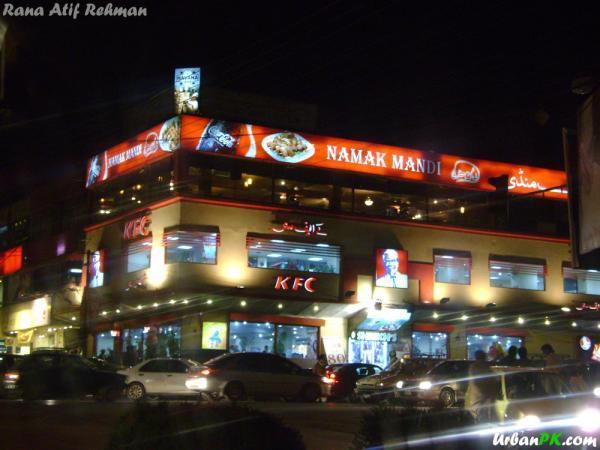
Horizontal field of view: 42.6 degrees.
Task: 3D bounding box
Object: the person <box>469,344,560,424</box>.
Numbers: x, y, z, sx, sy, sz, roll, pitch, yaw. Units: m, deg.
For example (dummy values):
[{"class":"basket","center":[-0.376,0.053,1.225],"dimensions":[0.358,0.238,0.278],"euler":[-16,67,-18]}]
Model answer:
[{"class":"person","center":[5.478,4.210,20.225],"dimensions":[2.449,1.066,1.284],"euler":[-4,-1,-2]}]
